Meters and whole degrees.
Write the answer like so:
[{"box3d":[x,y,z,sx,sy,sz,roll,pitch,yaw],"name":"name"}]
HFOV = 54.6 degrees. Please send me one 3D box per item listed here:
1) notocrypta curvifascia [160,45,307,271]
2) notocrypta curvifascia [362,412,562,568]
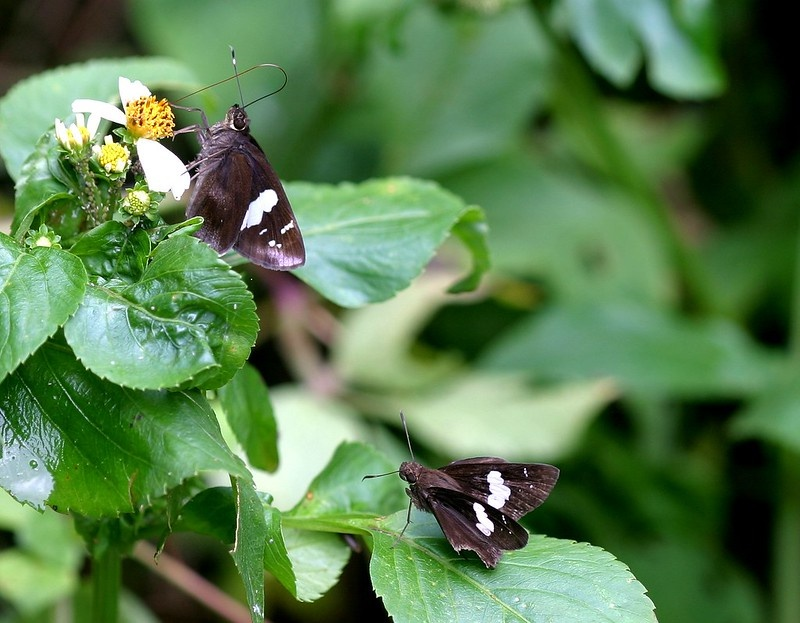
[{"box3d":[-0.332,-0.304,1.549,0.246,0.210,0.481,0,88,-14],"name":"notocrypta curvifascia"},{"box3d":[0.141,0.347,1.410,0.298,0.174,0.268,-3,77,21],"name":"notocrypta curvifascia"}]
